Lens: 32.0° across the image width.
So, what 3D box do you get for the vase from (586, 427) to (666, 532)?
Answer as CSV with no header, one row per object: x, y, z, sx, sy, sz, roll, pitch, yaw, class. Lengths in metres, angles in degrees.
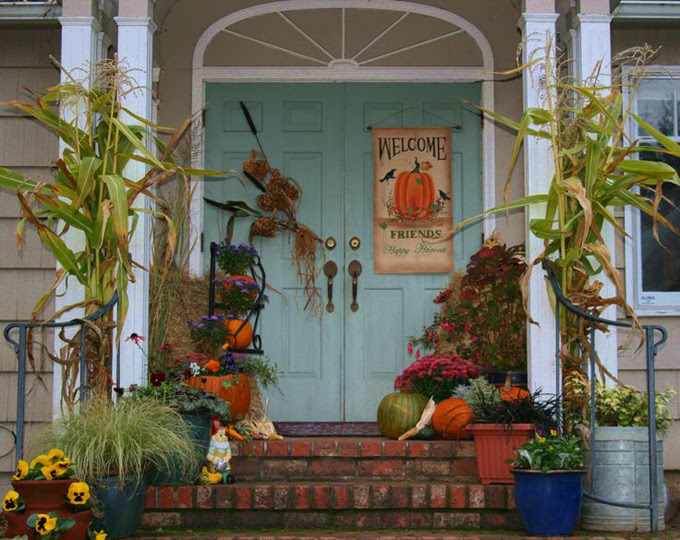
1.622,1.187,6.858,0.482,0.642,0.526,1,-6,0,vase

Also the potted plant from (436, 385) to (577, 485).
0.968,0.983,7.283,0.531,0.486,0.586,0,-6,7,potted plant

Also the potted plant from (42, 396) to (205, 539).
-1.201,1.094,6.771,0.722,0.705,0.731,7,-11,-20,potted plant

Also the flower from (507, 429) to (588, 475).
1.200,1.055,6.813,0.410,0.192,0.169,-1,-3,9,flower

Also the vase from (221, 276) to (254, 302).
-0.661,0.131,8.087,0.155,0.100,0.171,5,3,11,vase

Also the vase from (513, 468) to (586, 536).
1.198,1.313,6.754,0.340,0.307,0.368,3,-12,-9,vase

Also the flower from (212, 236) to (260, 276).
-0.722,-0.098,8.228,0.218,0.183,0.233,-1,-1,-14,flower

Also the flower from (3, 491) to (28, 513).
-1.797,1.274,6.539,0.150,0.109,0.072,-1,-4,15,flower

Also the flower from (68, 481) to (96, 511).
-1.426,1.252,6.551,0.144,0.177,0.058,1,-1,-10,flower

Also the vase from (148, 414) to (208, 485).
-0.940,1.081,7.161,0.315,0.417,0.382,1,-16,-3,vase

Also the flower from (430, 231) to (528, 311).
0.997,-0.014,8.233,0.351,0.452,0.813,1,-4,-26,flower

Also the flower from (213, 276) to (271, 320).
-0.684,0.173,8.122,0.286,0.242,0.298,3,-2,-32,flower

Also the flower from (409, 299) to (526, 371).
0.960,0.448,8.190,0.147,0.553,0.475,3,-2,-42,flower

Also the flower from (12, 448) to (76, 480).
-1.631,1.099,6.585,0.193,0.100,0.211,7,12,-3,flower

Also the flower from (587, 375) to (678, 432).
1.699,0.806,7.002,0.317,0.193,0.315,10,-12,-40,flower

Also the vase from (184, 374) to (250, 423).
-0.723,0.802,7.565,0.288,0.244,0.291,1,-2,-15,vase
